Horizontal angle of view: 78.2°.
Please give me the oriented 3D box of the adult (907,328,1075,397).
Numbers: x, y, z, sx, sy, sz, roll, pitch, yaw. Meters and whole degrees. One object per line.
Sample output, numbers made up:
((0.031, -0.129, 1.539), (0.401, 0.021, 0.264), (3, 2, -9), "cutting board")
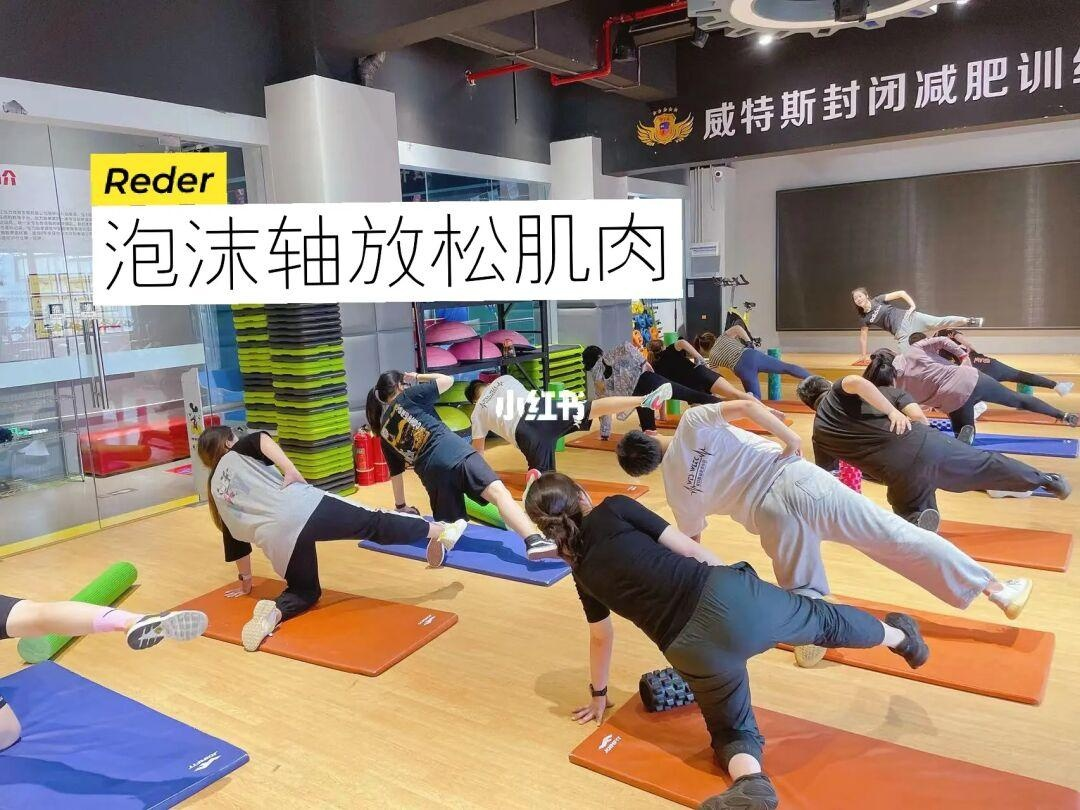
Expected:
((5.356, -0.502, 7.793), (1.289, 0.301, 0.720), (22, 34, 15), "adult")

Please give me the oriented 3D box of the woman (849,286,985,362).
((4.792, -0.962, 8.395), (1.551, 0.646, 0.595), (2, -19, 7), "woman")

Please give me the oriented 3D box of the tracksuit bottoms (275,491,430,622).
((-1.154, 0.866, 4.058), (0.805, 0.800, 0.246), (-4, 39, -11), "tracksuit bottoms")

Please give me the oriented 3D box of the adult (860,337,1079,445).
((4.308, -0.115, 6.561), (1.597, 0.903, 0.812), (21, -7, 16), "adult")

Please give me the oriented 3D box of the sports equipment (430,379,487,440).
((-0.939, 0.036, 7.492), (0.613, 0.333, 0.608), (0, 7, 2), "sports equipment")

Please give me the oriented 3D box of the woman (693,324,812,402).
((2.637, -0.489, 8.342), (0.839, 0.569, 1.642), (-27, 39, -37), "woman")

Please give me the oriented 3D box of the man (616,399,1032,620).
((1.670, 0.620, 3.779), (1.870, 0.989, 0.622), (14, -24, 30), "man")

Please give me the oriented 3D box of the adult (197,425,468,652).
((-1.420, 0.725, 4.131), (1.053, 0.877, 1.594), (-11, 11, -39), "adult")

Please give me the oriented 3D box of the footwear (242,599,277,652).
((-1.643, 1.306, 3.964), (0.129, 0.130, 0.307), (7, 39, 22), "footwear")

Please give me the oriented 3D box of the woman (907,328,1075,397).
((5.356, -0.502, 7.793), (1.289, 0.301, 0.720), (22, 34, 15), "woman")

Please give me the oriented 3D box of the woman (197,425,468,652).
((-1.432, 0.709, 4.135), (1.053, 0.877, 1.594), (-11, 11, -39), "woman")
